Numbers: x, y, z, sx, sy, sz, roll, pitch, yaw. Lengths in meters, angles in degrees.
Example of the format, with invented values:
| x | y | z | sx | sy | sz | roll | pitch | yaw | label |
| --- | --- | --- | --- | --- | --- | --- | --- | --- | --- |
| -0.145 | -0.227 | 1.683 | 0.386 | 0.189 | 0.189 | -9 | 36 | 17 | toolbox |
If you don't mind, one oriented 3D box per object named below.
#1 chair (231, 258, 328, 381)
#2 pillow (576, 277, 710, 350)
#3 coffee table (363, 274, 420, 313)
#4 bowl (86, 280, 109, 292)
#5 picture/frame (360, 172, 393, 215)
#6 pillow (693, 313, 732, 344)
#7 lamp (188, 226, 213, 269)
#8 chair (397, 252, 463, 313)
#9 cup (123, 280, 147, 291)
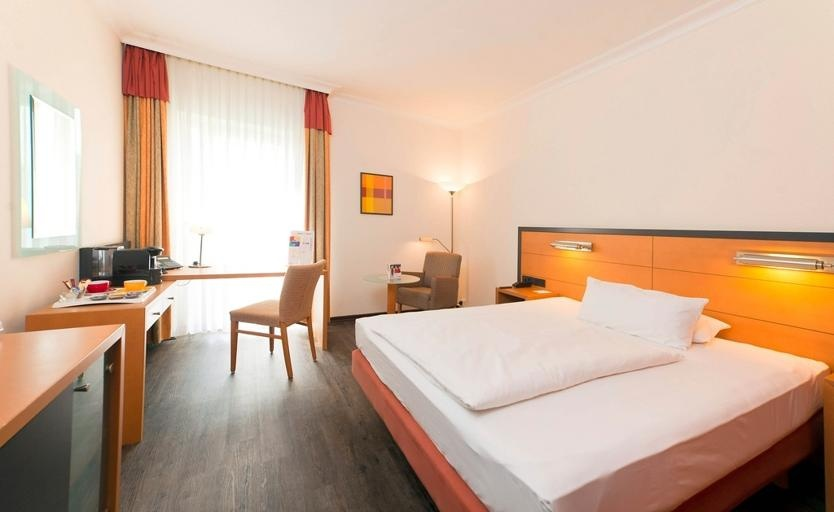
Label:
| x | y | z | sx | sy | sz | roll | pitch | yaw | label |
| --- | --- | --- | --- | --- | --- | --- | --- | --- | --- |
| -1.471 | 0.628 | 5.198 | 0.864 | 1.052 | 0.850 | 4 | 6 | 37 | chair |
| 1.992 | 0.502 | 4.419 | 0.515 | 0.467 | 1.214 | 26 | -2 | -31 | pillow |
| -0.313 | 0.389 | 6.143 | 0.592 | 0.588 | 0.595 | 0 | 1 | 25 | coffee table |
| -2.733 | 0.262 | 4.259 | 0.098 | 0.056 | 0.121 | -3 | -9 | 11 | bowl |
| -0.576 | -0.856 | 6.706 | 0.640 | 0.609 | 0.025 | 1 | -1 | -34 | picture/frame |
| 2.570 | 0.685 | 4.353 | 0.275 | 0.086 | 0.283 | -20 | 7 | -17 | pillow |
| -2.403 | -0.112 | 5.496 | 0.183 | 0.448 | 0.348 | 1 | 6 | -24 | lamp |
| 0.163 | 0.379 | 6.523 | 0.631 | 0.843 | 0.696 | 1 | 7 | -40 | chair |
| -2.507 | 0.268 | 4.413 | 0.100 | 0.089 | 0.132 | -6 | -11 | 39 | cup |
